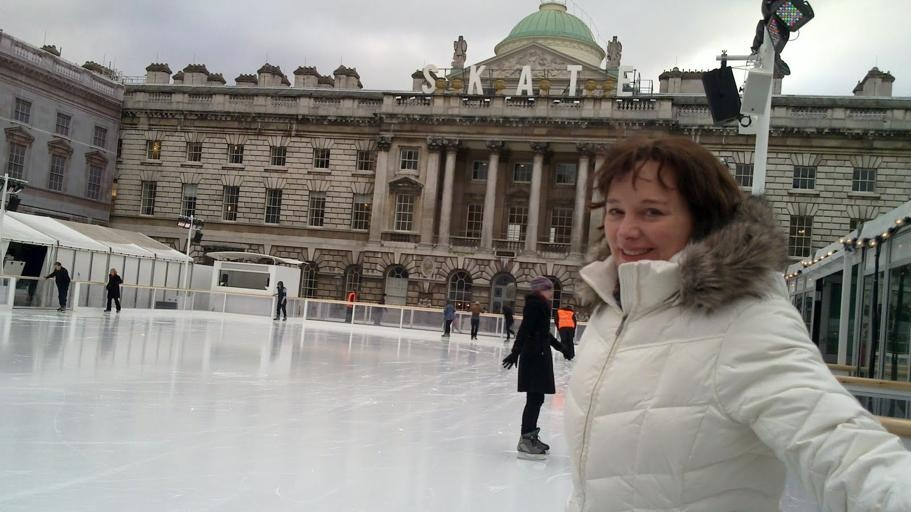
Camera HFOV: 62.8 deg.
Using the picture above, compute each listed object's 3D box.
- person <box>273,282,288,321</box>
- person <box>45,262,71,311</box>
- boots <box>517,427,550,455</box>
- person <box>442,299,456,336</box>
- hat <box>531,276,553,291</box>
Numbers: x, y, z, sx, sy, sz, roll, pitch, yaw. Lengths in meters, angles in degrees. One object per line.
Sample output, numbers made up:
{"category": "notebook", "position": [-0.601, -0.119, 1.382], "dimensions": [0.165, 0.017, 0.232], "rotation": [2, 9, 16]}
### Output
{"category": "person", "position": [-8.313, 2.127, 35.654], "dimensions": [0.494, 1.822, 1.029], "rotation": [5, 5, -15]}
{"category": "person", "position": [-15.148, 1.192, 28.561], "dimensions": [0.715, 1.829, 1.290], "rotation": [3, 5, -28]}
{"category": "boots", "position": [1.404, 3.123, 12.432], "dimensions": [0.775, 0.486, 0.259], "rotation": [1, -2, -6]}
{"category": "person", "position": [-0.306, 2.855, 33.745], "dimensions": [0.510, 1.405, 1.445], "rotation": [6, 4, 0]}
{"category": "hat", "position": [1.490, 0.467, 12.997], "dimensions": [0.327, 0.268, 0.244], "rotation": [-6, 24, 5]}
